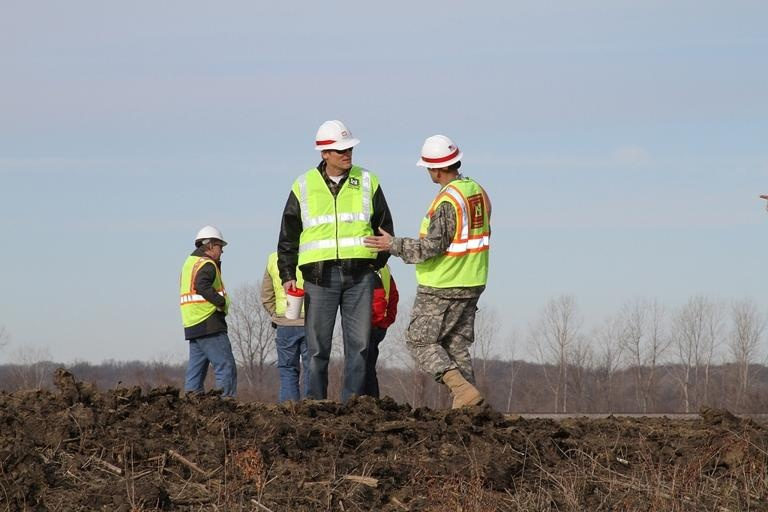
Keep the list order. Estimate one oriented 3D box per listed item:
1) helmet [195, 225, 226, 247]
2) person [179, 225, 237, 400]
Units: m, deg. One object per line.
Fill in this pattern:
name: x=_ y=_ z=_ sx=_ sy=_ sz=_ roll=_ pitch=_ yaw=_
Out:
helmet: x=-2.782 y=-0.278 z=25.627 sx=0.439 sy=0.285 sz=0.375 roll=-5 pitch=-10 yaw=12
person: x=-3.051 y=0.936 z=27.965 sx=0.915 sy=2.922 sz=0.982 roll=1 pitch=-3 yaw=-19
